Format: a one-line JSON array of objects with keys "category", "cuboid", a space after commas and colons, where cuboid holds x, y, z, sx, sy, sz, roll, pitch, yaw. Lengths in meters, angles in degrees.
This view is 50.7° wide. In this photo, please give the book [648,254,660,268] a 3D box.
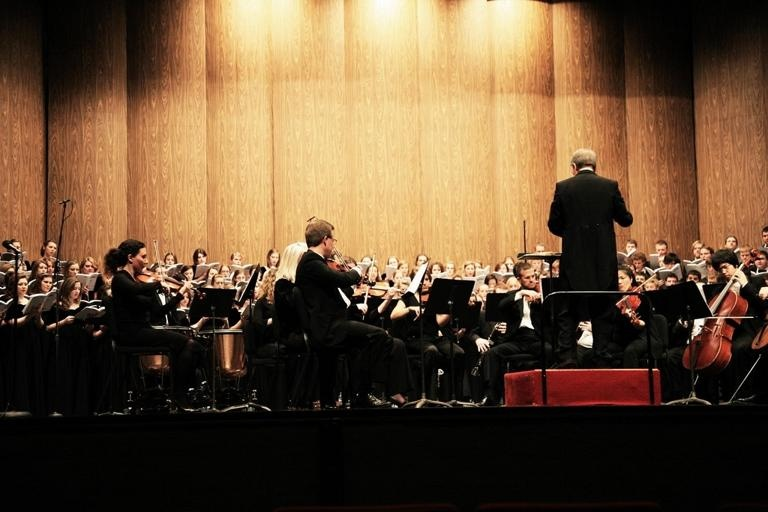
[{"category": "book", "cuboid": [4.539, 0.107, 13.735, 0.235, 0.244, 0.068, 9, -13, -4]}]

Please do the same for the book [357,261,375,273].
[{"category": "book", "cuboid": [-0.298, 0.164, 12.607, 0.175, 0.200, 0.235, -1, -38, -11]}]

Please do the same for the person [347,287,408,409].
[{"category": "person", "cuboid": [-0.094, 1.126, 9.319, 0.668, 1.039, 1.201, -2, 11, -3]}]

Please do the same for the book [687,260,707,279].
[{"category": "book", "cuboid": [4.729, 0.168, 12.300, 0.307, 0.162, 0.412, -3, -36, 27]}]

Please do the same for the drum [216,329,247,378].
[{"category": "drum", "cuboid": [-1.986, 1.266, 10.566, 0.521, 0.602, 0.539, 0, -4, -14]}]

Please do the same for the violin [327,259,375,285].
[{"category": "violin", "cuboid": [-0.490, 0.221, 9.178, 0.256, 0.141, 0.491, 11, 5, -39]}]

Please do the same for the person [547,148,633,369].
[{"category": "person", "cuboid": [2.086, 0.140, 8.458, 0.804, 2.385, 1.095, 6, 13, 35]}]

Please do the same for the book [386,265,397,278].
[{"category": "book", "cuboid": [0.089, 0.251, 13.113, 0.141, 0.161, 0.276, 3, 1, 1]}]

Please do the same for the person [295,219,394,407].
[{"category": "person", "cuboid": [-0.396, 0.662, 9.135, 1.059, 2.168, 0.844, -4, -9, -3]}]

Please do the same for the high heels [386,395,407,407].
[{"category": "high heels", "cuboid": [0.137, 1.659, 9.165, 0.133, 0.176, 0.420, 2, -18, -6]}]

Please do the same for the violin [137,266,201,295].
[{"category": "violin", "cuboid": [-2.804, 0.328, 10.460, 0.560, 0.108, 0.225, 25, -6, -29]}]

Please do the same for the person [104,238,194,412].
[{"category": "person", "cuboid": [-2.818, 0.765, 9.712, 0.966, 1.910, 1.441, -10, 14, -38]}]

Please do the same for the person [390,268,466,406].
[{"category": "person", "cuboid": [0.596, 1.048, 10.608, 0.867, 1.820, 0.795, -3, -5, 39]}]

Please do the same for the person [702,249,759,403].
[{"category": "person", "cuboid": [4.236, 0.939, 9.930, 0.499, 1.785, 0.664, 13, -3, -3]}]

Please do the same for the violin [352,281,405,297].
[{"category": "violin", "cuboid": [-0.125, 0.438, 10.583, 0.560, 0.163, 0.270, 2, -4, -33]}]

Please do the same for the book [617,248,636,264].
[{"category": "book", "cuboid": [3.754, 0.009, 12.545, 0.287, 0.267, 0.244, -4, -2, 41]}]
